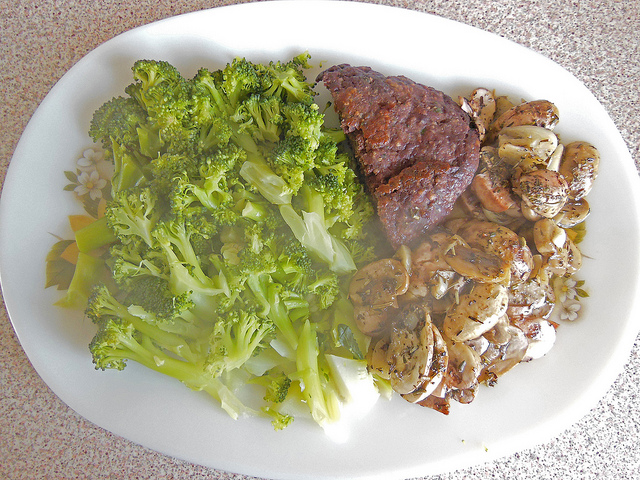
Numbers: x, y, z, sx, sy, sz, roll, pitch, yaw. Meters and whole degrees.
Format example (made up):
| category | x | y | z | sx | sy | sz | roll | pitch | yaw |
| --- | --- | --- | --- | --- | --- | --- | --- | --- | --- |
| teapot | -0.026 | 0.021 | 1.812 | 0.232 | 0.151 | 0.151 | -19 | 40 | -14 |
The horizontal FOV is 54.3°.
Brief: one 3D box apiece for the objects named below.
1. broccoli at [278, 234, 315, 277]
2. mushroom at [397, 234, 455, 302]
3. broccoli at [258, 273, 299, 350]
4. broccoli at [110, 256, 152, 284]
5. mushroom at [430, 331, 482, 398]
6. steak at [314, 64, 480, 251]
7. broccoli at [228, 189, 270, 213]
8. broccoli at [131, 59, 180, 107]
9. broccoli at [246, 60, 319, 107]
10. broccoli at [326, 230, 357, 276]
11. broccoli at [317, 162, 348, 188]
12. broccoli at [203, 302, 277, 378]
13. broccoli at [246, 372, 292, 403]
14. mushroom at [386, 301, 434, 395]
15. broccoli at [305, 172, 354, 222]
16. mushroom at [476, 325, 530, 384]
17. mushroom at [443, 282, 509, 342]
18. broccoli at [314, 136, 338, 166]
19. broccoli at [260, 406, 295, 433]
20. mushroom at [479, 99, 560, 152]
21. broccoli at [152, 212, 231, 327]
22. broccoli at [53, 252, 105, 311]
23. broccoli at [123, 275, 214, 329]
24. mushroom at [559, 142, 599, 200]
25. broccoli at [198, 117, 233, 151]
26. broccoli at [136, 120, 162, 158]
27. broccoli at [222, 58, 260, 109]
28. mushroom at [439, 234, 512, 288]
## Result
| category | x | y | z | sx | sy | sz | roll | pitch | yaw |
| --- | --- | --- | --- | --- | --- | --- | --- | --- | --- |
| broccoli | -0.093 | 0.074 | 2.373 | 0.129 | 0.066 | 0.151 | 5 | 99 | -9 |
| mushroom | 0.400 | 0.111 | 2.439 | 0.165 | 0.067 | 0.274 | 42 | 106 | 24 |
| broccoli | -0.162 | 0.272 | 2.503 | 0.113 | 0.073 | 0.306 | -24 | 104 | 8 |
| broccoli | -0.742 | 0.116 | 2.462 | 0.148 | 0.089 | 0.100 | 5 | 74 | -14 |
| mushroom | 0.525 | 0.474 | 2.434 | 0.245 | 0.082 | 0.260 | 1 | 94 | 9 |
| steak | 0.351 | -0.404 | 2.441 | 0.475 | 0.208 | 0.752 | -25 | 85 | 0 |
| broccoli | -0.286 | -0.164 | 2.386 | 0.113 | 0.063 | 0.084 | 35 | 90 | -18 |
| broccoli | -0.636 | -0.603 | 2.353 | 0.152 | 0.083 | 0.177 | 36 | 87 | 4 |
| broccoli | -0.129 | -0.614 | 2.373 | 0.276 | 0.252 | 0.070 | -29 | 82 | 23 |
| broccoli | 0.079 | 0.073 | 2.451 | 0.162 | 0.048 | 0.104 | 37 | 77 | -12 |
| broccoli | 0.041 | -0.237 | 2.362 | 0.092 | 0.090 | 0.057 | 9 | 77 | -11 |
| broccoli | -0.320 | 0.369 | 2.435 | 0.263 | 0.135 | 0.278 | -22 | 101 | 18 |
| broccoli | -0.209 | 0.589 | 2.507 | 0.140 | 0.084 | 0.108 | 9 | 80 | 35 |
| mushroom | 0.349 | 0.422 | 2.420 | 0.102 | 0.219 | 0.316 | 7 | 88 | -42 |
| broccoli | 0.052 | -0.167 | 2.398 | 0.074 | 0.146 | 0.168 | -39 | 105 | -29 |
| mushroom | 0.775 | 0.457 | 2.535 | 0.050 | 0.183 | 0.259 | 44 | 88 | 9 |
| mushroom | 0.609 | 0.276 | 2.440 | 0.165 | 0.085 | 0.273 | 43 | 100 | 12 |
| broccoli | 0.018 | -0.338 | 2.364 | 0.093 | 0.052 | 0.106 | 24 | 99 | 15 |
| broccoli | -0.170 | 0.707 | 2.473 | 0.120 | 0.072 | 0.094 | 31 | 44 | 29 |
| mushroom | 0.817 | -0.441 | 2.591 | 0.323 | 0.109 | 0.183 | -29 | 62 | 11 |
| broccoli | -0.502 | 0.096 | 2.477 | 0.219 | 0.159 | 0.438 | -29 | 94 | -2 |
| broccoli | -0.965 | 0.173 | 2.545 | 0.179 | 0.086 | 0.252 | 19 | 89 | 1 |
| broccoli | -0.668 | 0.201 | 2.594 | 0.268 | 0.424 | 0.185 | -10 | 96 | 1 |
| mushroom | 1.049 | -0.286 | 2.535 | 0.137 | 0.070 | 0.236 | 10 | 95 | 12 |
| broccoli | -0.377 | -0.400 | 2.403 | 0.117 | 0.132 | 0.115 | -35 | 99 | 5 |
| broccoli | -0.659 | -0.395 | 2.386 | 0.126 | 0.031 | 0.123 | -28 | 104 | -12 |
| broccoli | -0.290 | -0.616 | 2.406 | 0.149 | 0.165 | 0.180 | 14 | 114 | 8 |
| mushroom | 0.597 | 0.066 | 2.461 | 0.401 | 0.095 | 0.231 | 8 | 98 | -37 |
